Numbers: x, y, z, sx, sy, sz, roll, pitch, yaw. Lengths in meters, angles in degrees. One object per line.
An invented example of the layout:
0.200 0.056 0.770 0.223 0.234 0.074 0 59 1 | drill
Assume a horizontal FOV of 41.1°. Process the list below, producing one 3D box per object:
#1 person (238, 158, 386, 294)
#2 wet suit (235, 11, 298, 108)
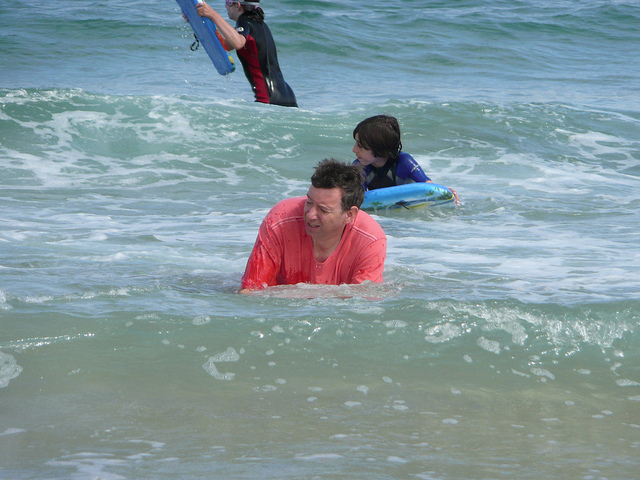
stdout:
-0.083 -0.114 7.377 1.251 1.129 0.370 -5 16 2 | person
-0.634 -1.933 9.318 0.277 0.962 0.614 7 20 45 | wet suit
